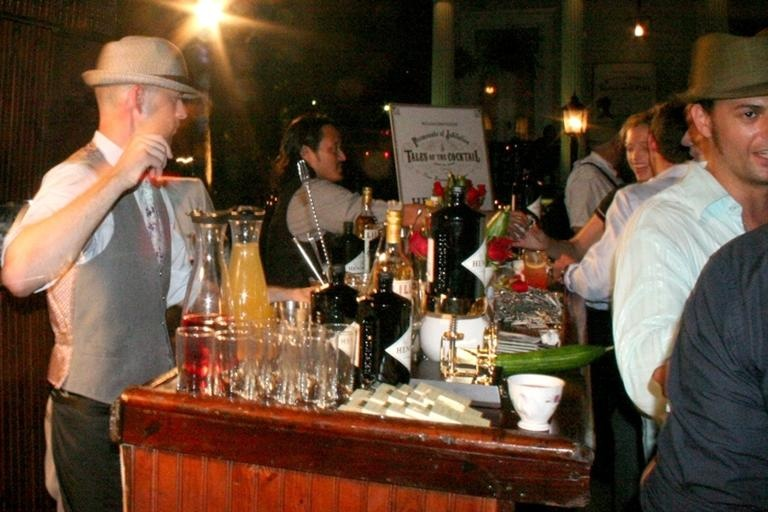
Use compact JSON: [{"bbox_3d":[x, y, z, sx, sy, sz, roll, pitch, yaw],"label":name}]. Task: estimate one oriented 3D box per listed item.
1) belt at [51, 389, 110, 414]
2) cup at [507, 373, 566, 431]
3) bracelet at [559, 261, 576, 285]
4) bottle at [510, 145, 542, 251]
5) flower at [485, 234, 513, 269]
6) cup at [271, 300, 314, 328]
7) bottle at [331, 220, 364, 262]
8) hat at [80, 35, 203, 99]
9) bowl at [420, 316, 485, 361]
[{"bbox_3d":[-1.261,0.613,2.908,0.168,0.047,0.033,10,-24,1],"label":"belt"},{"bbox_3d":[0.513,0.494,2.334,0.179,0.140,0.179,1,7,0],"label":"cup"},{"bbox_3d":[1.095,0.105,4.135,0.093,0.104,0.122,4,-4,-35],"label":"bracelet"},{"bbox_3d":[0.972,-0.270,4.671,0.188,0.693,0.173,3,-15,1],"label":"bottle"},{"bbox_3d":[0.504,-0.021,2.950,0.145,0.124,0.075,-1,3,-35],"label":"flower"},{"bbox_3d":[-0.344,0.219,2.604,0.105,0.076,0.093,1,0,26],"label":"cup"},{"bbox_3d":[-0.188,-0.069,3.831,0.177,0.264,0.179,-2,10,0],"label":"bottle"},{"bbox_3d":[-1.096,-0.890,3.178,0.568,0.225,0.477,5,19,-2],"label":"hat"},{"bbox_3d":[0.279,0.307,2.797,0.204,0.180,0.202,1,2,0],"label":"bowl"}]
